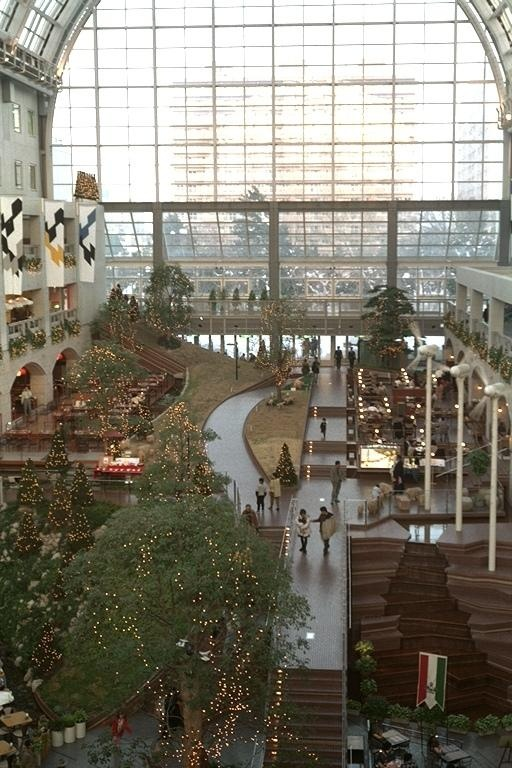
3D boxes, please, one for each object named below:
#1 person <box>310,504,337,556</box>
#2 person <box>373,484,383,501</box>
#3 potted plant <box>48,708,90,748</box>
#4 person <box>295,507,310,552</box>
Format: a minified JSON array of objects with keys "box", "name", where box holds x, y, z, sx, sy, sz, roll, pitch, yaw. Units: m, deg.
[{"box":[1.937,4.137,17.744,0.697,1.354,0.627,0,5,7],"name":"person"},{"box":[3.935,3.475,19.938,0.286,0.389,0.828,4,14,19],"name":"person"},{"box":[-3.840,6.818,12.559,0.430,0.636,0.880,11,11,36],"name":"potted plant"},{"box":[1.369,4.104,17.697,0.327,1.395,0.590,0,13,3],"name":"person"}]
